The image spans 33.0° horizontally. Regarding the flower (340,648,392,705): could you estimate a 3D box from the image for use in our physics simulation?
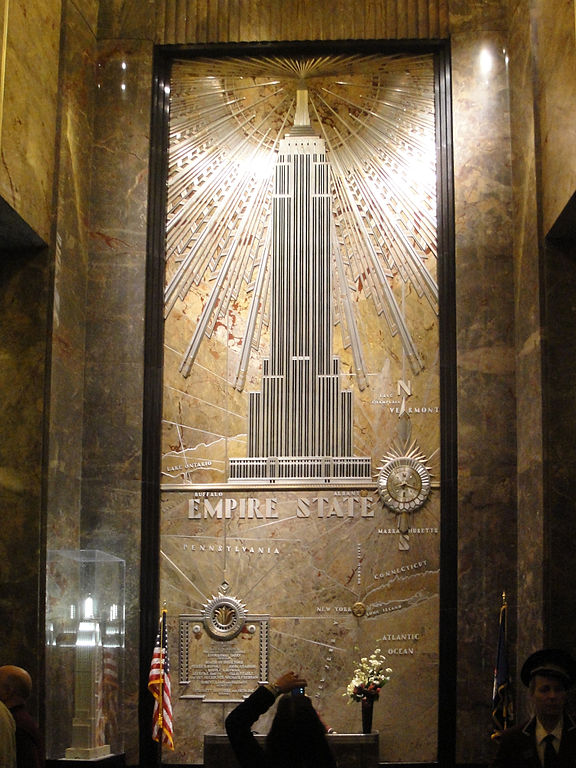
[{"bbox_3d":[0.597,2.158,7.192,0.280,0.400,0.196,-3,-65,9],"label":"flower"}]
